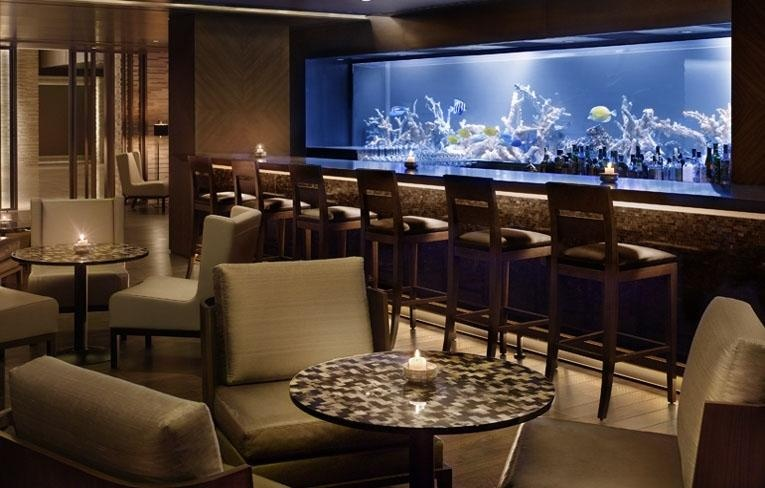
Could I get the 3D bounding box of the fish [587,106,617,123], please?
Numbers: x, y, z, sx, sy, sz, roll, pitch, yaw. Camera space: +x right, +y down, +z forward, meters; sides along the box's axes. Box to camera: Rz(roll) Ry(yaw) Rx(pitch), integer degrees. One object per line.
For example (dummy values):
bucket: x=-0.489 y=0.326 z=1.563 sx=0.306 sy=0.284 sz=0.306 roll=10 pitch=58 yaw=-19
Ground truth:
fish: x=2.577 y=-1.533 z=7.198 sx=0.061 sy=0.199 sz=0.318 roll=-8 pitch=10 yaw=-36

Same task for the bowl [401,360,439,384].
bowl: x=0.167 y=0.541 z=2.586 sx=0.101 sy=0.044 sz=0.101 roll=1 pitch=5 yaw=0

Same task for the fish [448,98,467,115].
fish: x=1.083 y=-1.949 z=8.648 sx=0.055 sy=0.209 sz=0.225 roll=-3 pitch=16 yaw=-40
